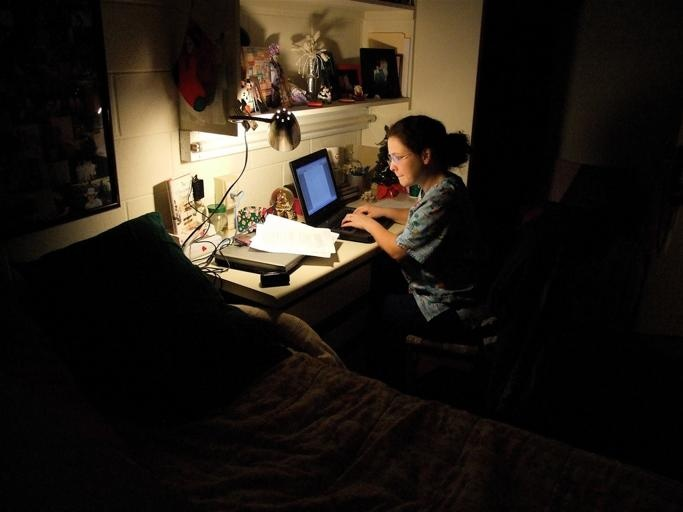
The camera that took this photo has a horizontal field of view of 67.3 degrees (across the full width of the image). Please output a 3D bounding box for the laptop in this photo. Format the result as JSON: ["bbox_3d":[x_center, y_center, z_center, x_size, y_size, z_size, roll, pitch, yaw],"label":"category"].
[{"bbox_3d":[-0.015,-0.310,2.631,0.464,0.413,0.560,10,24,12],"label":"laptop"}]

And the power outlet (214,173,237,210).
[{"bbox_3d":[-0.555,-0.309,2.422,0.051,0.159,0.166,6,7,22],"label":"power outlet"}]

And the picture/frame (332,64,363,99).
[{"bbox_3d":[0.025,-0.969,2.851,0.028,0.213,0.183,5,25,40],"label":"picture/frame"}]

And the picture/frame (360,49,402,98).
[{"bbox_3d":[0.214,-1.056,2.956,0.283,0.297,0.021,-13,8,-37],"label":"picture/frame"}]

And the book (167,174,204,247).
[{"bbox_3d":[-0.676,-0.192,2.183,0.036,0.270,0.237,4,22,17],"label":"book"}]

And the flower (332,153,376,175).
[{"bbox_3d":[0.053,-0.562,3.061,0.160,0.042,0.178,25,36,21],"label":"flower"}]

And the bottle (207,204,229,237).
[{"bbox_3d":[-0.573,-0.177,2.408,0.117,0.197,0.123,2,21,-1],"label":"bottle"}]

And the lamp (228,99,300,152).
[{"bbox_3d":[-0.330,-0.546,2.201,0.304,0.157,0.137,2,30,6],"label":"lamp"}]

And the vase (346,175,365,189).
[{"bbox_3d":[0.086,-0.445,3.033,0.079,0.067,0.076,1,19,3],"label":"vase"}]
